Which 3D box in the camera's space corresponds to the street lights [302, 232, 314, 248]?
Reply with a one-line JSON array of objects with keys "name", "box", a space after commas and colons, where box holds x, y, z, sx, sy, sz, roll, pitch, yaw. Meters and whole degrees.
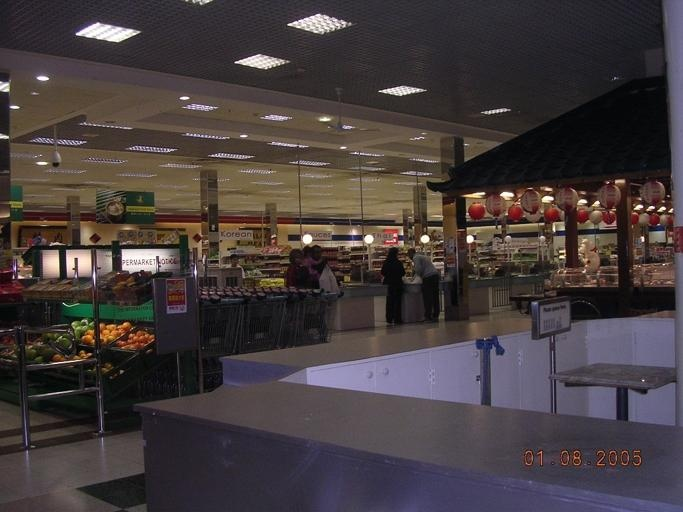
[{"name": "street lights", "box": [-0.832, -0.422, 13.637, 0.121, 0.454, 0.491, 3, 5, -18]}]

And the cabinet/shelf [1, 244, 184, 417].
[{"name": "cabinet/shelf", "box": [-2.984, 0.957, 6.283, 2.389, 1.616, 1.209, -2, -7, 36]}]
